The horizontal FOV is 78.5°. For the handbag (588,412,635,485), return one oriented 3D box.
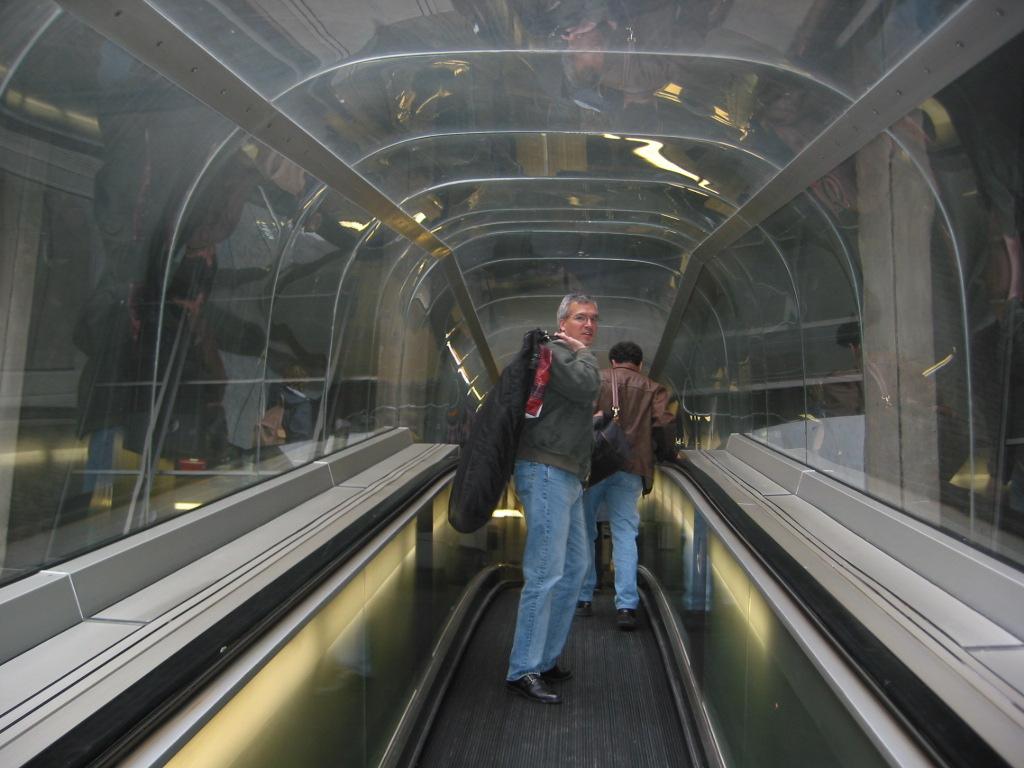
[{"bbox_3d":[0.734,0.477,4.653,0.182,0.512,0.387,9,4,33],"label":"handbag"}]

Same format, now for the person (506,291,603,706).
[{"bbox_3d":[0.245,0.673,3.640,0.559,2.407,0.526,-1,2,-16],"label":"person"}]

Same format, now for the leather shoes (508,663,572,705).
[{"bbox_3d":[0.165,1.764,3.709,0.162,0.211,0.457,9,-20,-38],"label":"leather shoes"}]
